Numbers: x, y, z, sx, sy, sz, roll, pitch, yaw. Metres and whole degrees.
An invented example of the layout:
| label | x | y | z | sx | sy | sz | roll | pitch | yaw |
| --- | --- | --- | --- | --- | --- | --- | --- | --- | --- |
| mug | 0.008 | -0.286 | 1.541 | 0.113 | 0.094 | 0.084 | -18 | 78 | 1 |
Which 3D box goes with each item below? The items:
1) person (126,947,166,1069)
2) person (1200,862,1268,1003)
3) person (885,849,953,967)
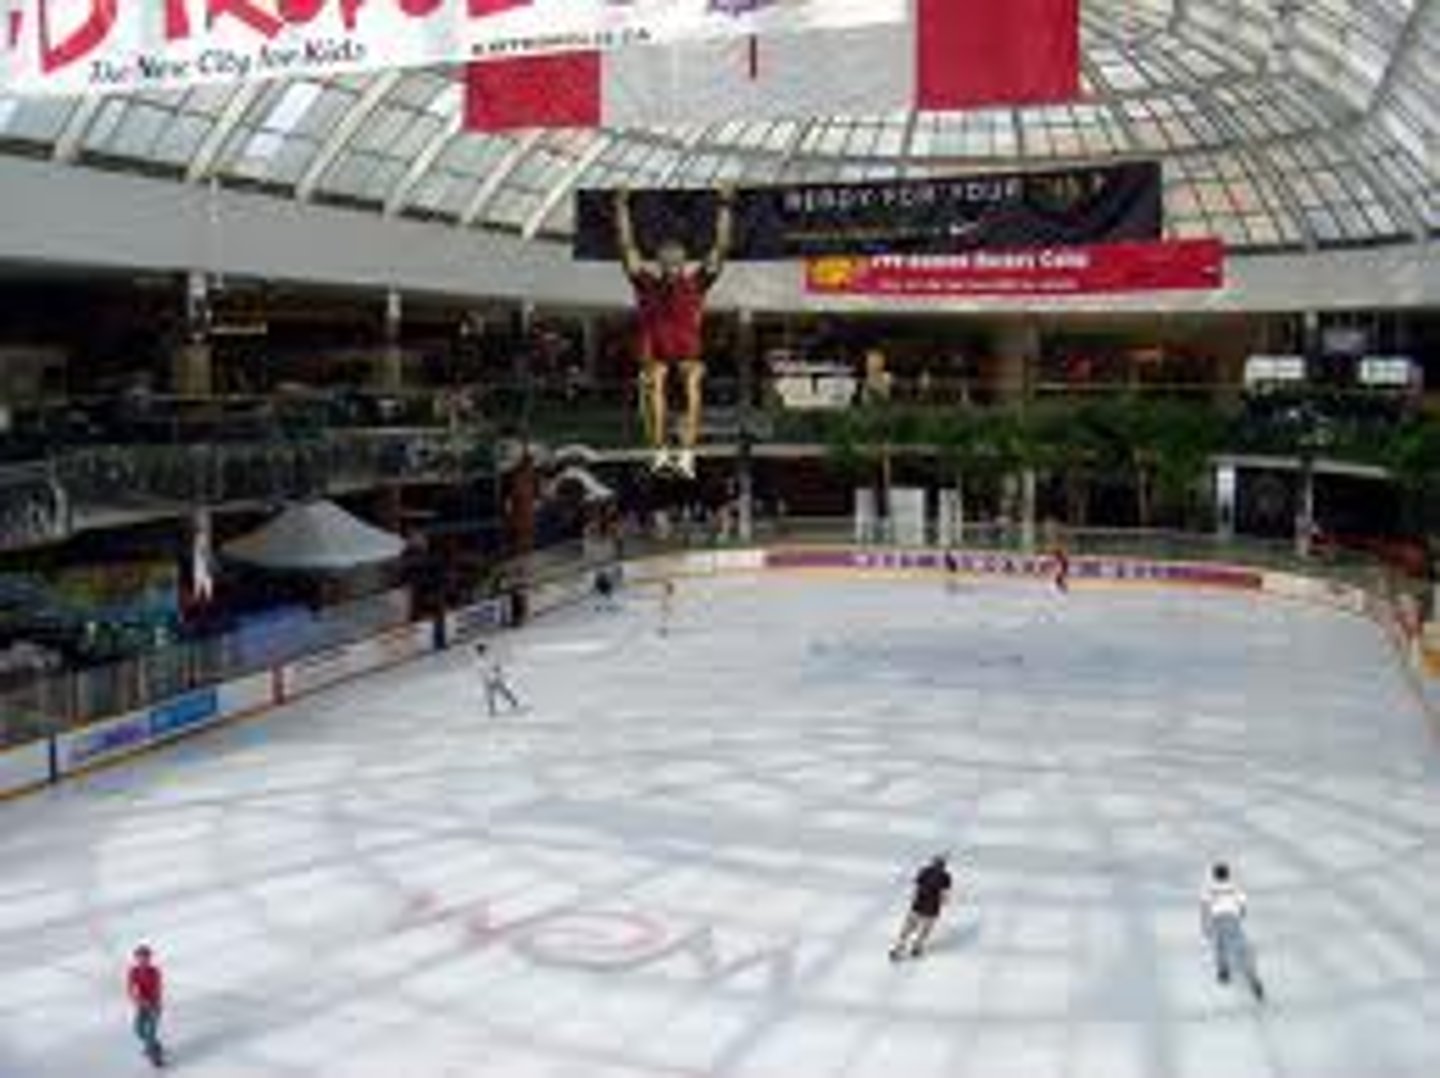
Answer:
| label | x | y | z | sx | sy | sz | roll | pitch | yaw |
| --- | --- | --- | --- | --- | --- | --- | --- | --- | --- |
| person | -6.726 | 5.209 | 13.701 | 0.329 | 1.347 | 1.407 | -4 | 8 | -28 |
| person | 6.777 | 4.822 | 15.361 | 0.753 | 1.623 | 2.288 | 3 | 8 | 24 |
| person | 2.752 | 4.791 | 15.989 | 0.769 | 1.512 | 1.397 | 1 | 8 | 13 |
